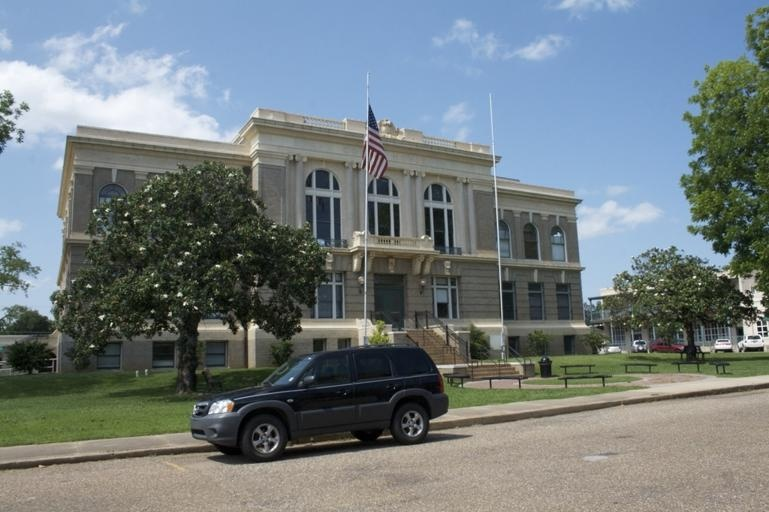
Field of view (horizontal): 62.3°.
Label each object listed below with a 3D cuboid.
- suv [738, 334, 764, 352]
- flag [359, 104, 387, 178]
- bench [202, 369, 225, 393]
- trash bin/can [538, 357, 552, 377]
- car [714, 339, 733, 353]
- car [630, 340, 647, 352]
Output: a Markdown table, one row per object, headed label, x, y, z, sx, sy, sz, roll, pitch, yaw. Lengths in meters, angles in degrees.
| label | x | y | z | sx | sy | sz | roll | pitch | yaw |
| --- | --- | --- | --- | --- | --- | --- | --- | --- | --- |
| suv | 38.410 | 9.155 | 66.976 | 1.752 | 1.384 | 3.772 | -2 | -5 | 12 |
| flag | -0.667 | -6.487 | 35.692 | 0.976 | 4.151 | 1.130 | -9 | -12 | 42 |
| bench | -8.449 | 6.286 | 31.277 | 0.940 | 0.754 | 2.989 | -2 | -27 | -8 |
| trash bin/can | 8.576 | 5.922 | 33.977 | 0.534 | 1.008 | 1.214 | -2 | -9 | 6 |
| car | 34.511 | 9.230 | 64.773 | 1.674 | 1.179 | 3.774 | -2 | -5 | 22 |
| car | 30.143 | 10.776 | 75.313 | 1.579 | 1.424 | 3.277 | -1 | -3 | 9 |
